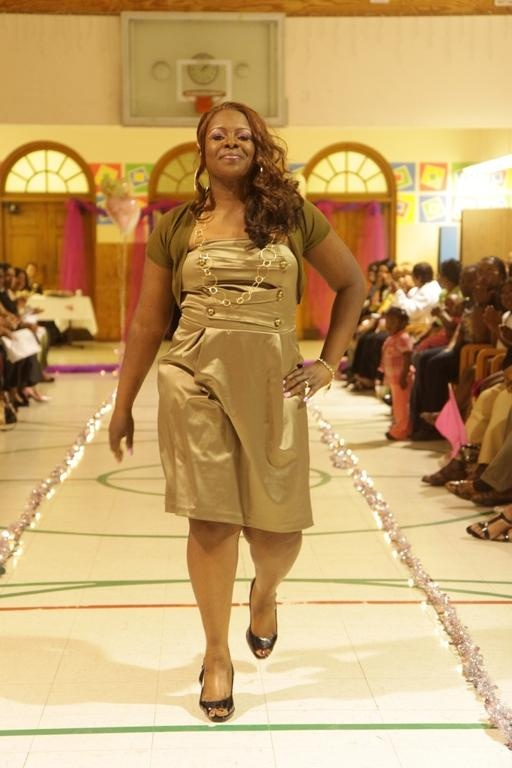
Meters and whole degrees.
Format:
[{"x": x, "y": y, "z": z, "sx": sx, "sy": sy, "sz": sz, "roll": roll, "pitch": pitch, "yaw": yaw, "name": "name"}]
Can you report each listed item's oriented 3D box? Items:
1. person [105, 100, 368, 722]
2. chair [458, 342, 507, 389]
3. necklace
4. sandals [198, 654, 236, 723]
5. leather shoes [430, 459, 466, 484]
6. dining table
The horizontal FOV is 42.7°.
[{"x": -0.022, "y": 0.047, "z": 1.503, "sx": 0.612, "sy": 1.348, "sz": 0.336, "roll": 1, "pitch": 1, "yaw": -11, "name": "person"}, {"x": 1.497, "y": -0.141, "z": 4.324, "sx": 0.314, "sy": 0.372, "sz": 0.256, "roll": 0, "pitch": 3, "yaw": -10, "name": "chair"}, {"x": -0.040, "y": -0.251, "z": 1.364, "sx": 0.250, "sy": 0.201, "sz": 0.054, "roll": 5, "pitch": 4, "yaw": -4, "name": "necklace"}, {"x": -0.082, "y": 0.659, "z": 1.397, "sx": 0.087, "sy": 0.058, "sz": 0.227, "roll": -1, "pitch": 13, "yaw": -3, "name": "sandals"}, {"x": 1.136, "y": 0.519, "z": 3.801, "sx": 0.085, "sy": 0.184, "sz": 0.243, "roll": 1, "pitch": 1, "yaw": -38, "name": "leather shoes"}, {"x": -3.122, "y": -1.152, "z": 11.007, "sx": 1.177, "sy": 0.525, "sz": 1.084, "roll": 0, "pitch": 10, "yaw": -3, "name": "dining table"}]
